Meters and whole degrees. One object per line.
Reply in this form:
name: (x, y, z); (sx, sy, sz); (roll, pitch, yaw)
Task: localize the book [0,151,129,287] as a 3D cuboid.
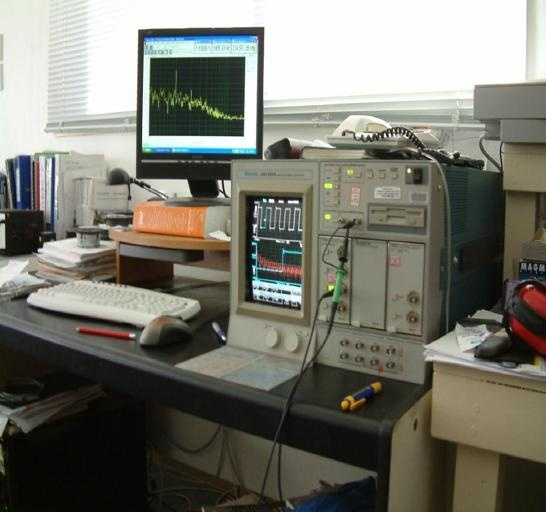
book: (-0.887, -0.209, 2.173); (0.552, 0.494, 1.346); (-5, 10, -27)

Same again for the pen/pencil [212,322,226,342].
pen/pencil: (-0.133, 0.177, 1.214); (0.015, 0.018, 0.085); (35, 4, -25)

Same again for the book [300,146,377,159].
book: (0.123, -0.206, 1.009); (0.138, 0.029, 0.068); (0, 9, 9)

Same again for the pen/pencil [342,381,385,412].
pen/pencil: (0.164, 0.234, 0.875); (0.028, 0.028, 0.124); (-20, 0, 40)
